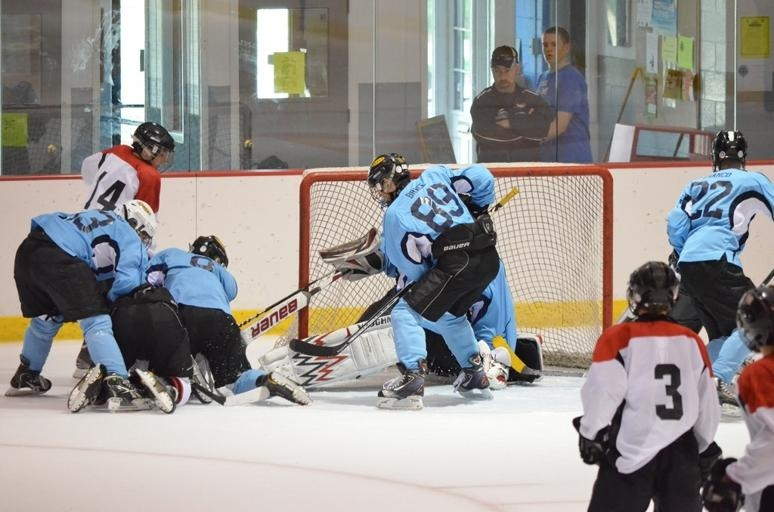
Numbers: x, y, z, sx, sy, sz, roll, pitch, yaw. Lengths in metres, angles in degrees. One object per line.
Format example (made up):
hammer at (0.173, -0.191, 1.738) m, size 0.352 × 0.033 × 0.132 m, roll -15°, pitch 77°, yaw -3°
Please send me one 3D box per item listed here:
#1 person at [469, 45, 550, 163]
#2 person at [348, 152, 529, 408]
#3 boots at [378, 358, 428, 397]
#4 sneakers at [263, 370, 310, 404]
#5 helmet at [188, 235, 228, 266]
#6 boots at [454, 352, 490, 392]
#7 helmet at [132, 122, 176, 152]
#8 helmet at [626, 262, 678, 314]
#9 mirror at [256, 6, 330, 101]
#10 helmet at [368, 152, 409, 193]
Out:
person at (1.089, -1.334, 8.360) m, size 0.672 × 0.988 × 0.174 m, roll 1°, pitch 12°, yaw 8°
person at (0.332, 0.154, 6.151) m, size 0.830 × 1.582 × 0.890 m, roll -1°, pitch 12°, yaw -1°
boots at (0.098, 0.767, 5.937) m, size 0.267 × 0.207 × 0.201 m, roll 2°, pitch 12°, yaw 13°
sneakers at (-0.627, 0.834, 5.948) m, size 0.302 × 0.087 × 0.153 m, roll 34°, pitch 18°, yaw -20°
helmet at (-1.245, -0.045, 6.639) m, size 0.231 × 0.225 × 0.227 m, roll -16°, pitch 8°, yaw -37°
boots at (0.500, 0.751, 6.150) m, size 0.282 × 0.272 × 0.166 m, roll -8°, pitch 18°, yaw -11°
helmet at (-1.790, -0.902, 7.290) m, size 0.262 × 0.244 × 0.202 m, roll 8°, pitch 27°, yaw -20°
helmet at (1.260, 0.160, 4.490) m, size 0.263 × 0.295 × 0.313 m, roll 1°, pitch 3°, yaw 7°
mirror at (-0.830, -1.826, 8.381) m, size 0.789 × 0.929 × 0.035 m, roll 0°, pitch 4°, yaw 4°
helmet at (0.010, -0.560, 6.376) m, size 0.274 × 0.269 × 0.218 m, roll 8°, pitch 18°, yaw 19°
